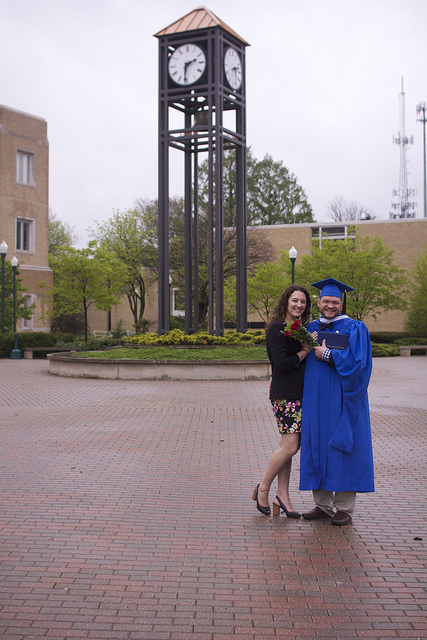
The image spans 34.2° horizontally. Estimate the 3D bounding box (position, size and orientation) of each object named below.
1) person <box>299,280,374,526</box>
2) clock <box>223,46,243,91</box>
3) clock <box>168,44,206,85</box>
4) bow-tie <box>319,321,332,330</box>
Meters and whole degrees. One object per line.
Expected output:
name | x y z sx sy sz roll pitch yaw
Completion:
person | 0.852 0.436 4.794 0.487 1.441 0.372 0 0 10
clock | 0.544 -7.636 20.793 0.244 1.200 1.203 0 0 22
clock | -0.763 -7.603 20.393 1.160 1.204 0.229 0 0 28
bow-tie | 0.805 0.037 4.935 0.107 0.053 0.018 0 0 42
